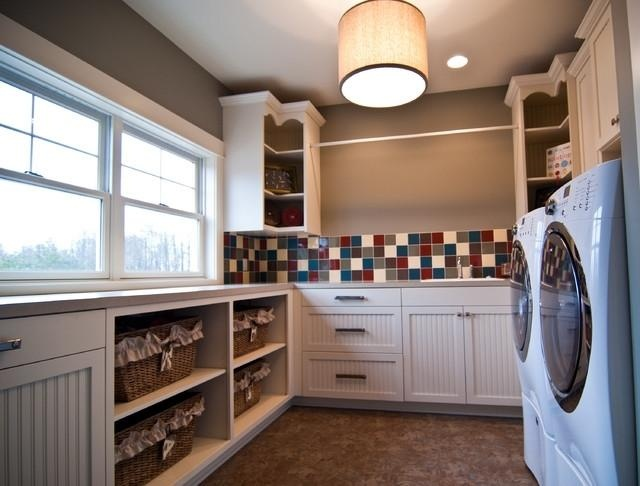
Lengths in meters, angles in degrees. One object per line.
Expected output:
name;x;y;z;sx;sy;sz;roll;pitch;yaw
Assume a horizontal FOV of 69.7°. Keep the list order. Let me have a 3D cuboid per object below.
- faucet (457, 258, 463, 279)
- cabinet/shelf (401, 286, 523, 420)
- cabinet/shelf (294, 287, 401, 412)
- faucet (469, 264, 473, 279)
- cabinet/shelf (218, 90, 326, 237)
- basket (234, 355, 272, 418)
faucet;1.203;0.212;3.950;0.041;0.173;0.120;0;1;18
cabinet/shelf;0.966;0.719;3.742;1.145;1.221;0.731;-3;-8;17
cabinet/shelf;0.250;0.839;3.560;0.796;0.916;0.415;-1;-8;11
faucet;1.308;0.243;3.967;0.036;0.101;0.036;0;1;22
cabinet/shelf;-0.431;-0.680;3.938;0.629;1.140;1.094;-5;-6;40
basket;-0.457;0.981;3.132;0.212;0.224;0.488;-3;-7;10
